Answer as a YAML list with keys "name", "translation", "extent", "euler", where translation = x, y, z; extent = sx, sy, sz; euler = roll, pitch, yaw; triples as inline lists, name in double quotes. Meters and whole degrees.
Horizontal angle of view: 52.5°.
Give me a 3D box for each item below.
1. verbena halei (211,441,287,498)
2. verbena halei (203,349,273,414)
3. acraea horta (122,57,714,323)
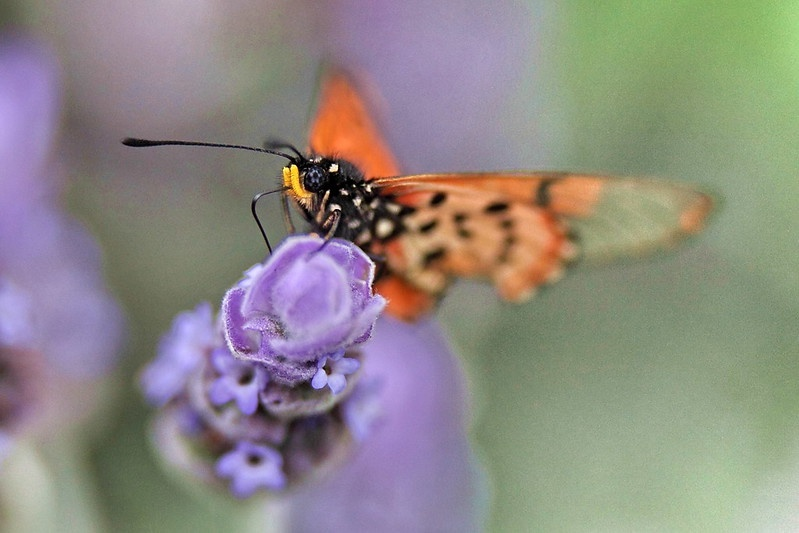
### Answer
- name: "verbena halei"
  translation: [-0.213, 0.293, 1.178]
  extent: [0.084, 0.020, 0.085]
  euler: [-19, 72, -9]
- name: "verbena halei"
  translation: [-0.237, 0.167, 1.200]
  extent: [0.077, 0.115, 0.064]
  euler: [3, 19, 12]
- name: "acraea horta"
  translation: [0.020, -0.110, 1.452]
  extent: [0.765, 0.350, 0.696]
  euler: [1, 14, -22]
